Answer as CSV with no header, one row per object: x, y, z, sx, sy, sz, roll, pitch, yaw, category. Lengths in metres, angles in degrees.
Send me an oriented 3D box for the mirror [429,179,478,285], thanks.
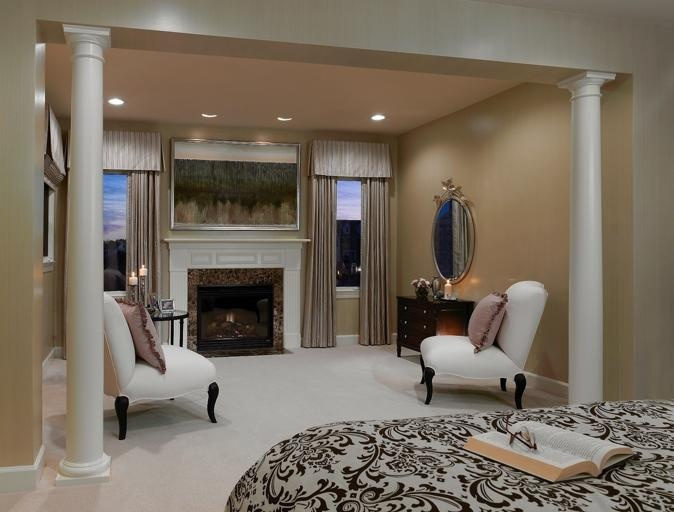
1.477,-0.302,6.247,0.124,1.815,1.186,2,-4,-20,mirror

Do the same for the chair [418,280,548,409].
1.358,0.750,4.888,1.075,1.271,1.030,6,1,14,chair

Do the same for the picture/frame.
-1.432,-1.025,7.034,1.791,1.383,0.082,-1,25,-13,picture/frame

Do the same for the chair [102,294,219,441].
-1.532,0.764,4.184,0.956,1.109,0.831,-6,8,-44,chair

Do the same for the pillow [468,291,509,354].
1.452,0.586,4.868,0.273,0.616,0.741,5,7,11,pillow

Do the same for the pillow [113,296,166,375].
-1.602,0.599,4.084,0.222,0.567,0.623,-9,6,-37,pillow

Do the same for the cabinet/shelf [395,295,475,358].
1.202,0.641,6.258,0.573,0.902,1.002,2,-1,-15,cabinet/shelf
